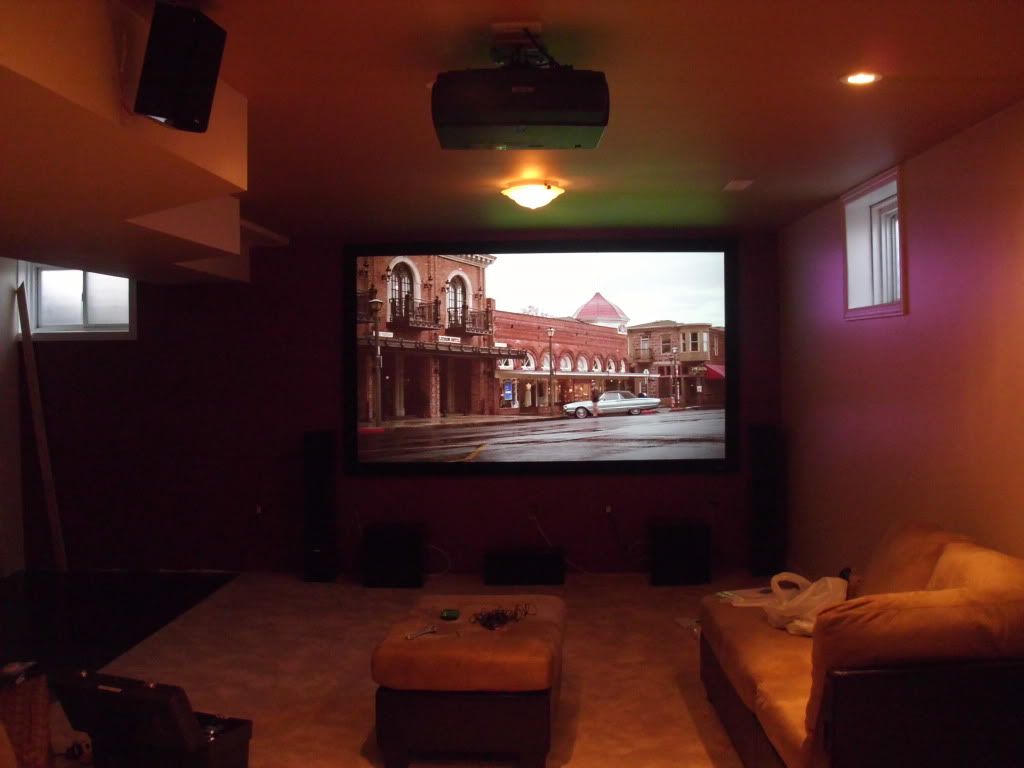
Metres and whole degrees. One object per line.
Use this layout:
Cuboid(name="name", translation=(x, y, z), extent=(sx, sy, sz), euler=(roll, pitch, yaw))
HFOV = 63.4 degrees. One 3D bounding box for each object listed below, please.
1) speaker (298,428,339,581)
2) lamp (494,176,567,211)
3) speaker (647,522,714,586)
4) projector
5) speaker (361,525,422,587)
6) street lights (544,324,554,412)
Cuboid(name="speaker", translation=(-1.664, 1.036, 7.009), extent=(0.443, 1.408, 0.451), euler=(-1, 21, -16))
Cuboid(name="lamp", translation=(0.155, -1.348, 5.911), extent=(0.472, 0.175, 0.602), euler=(0, 7, 3))
Cuboid(name="speaker", translation=(1.374, 1.359, 6.715), extent=(0.492, 0.475, 0.468), euler=(0, -1, 5))
Cuboid(name="projector", translation=(0.050, -1.328, 4.199), extent=(0.705, 0.408, 0.235), euler=(-1, -27, -1))
Cuboid(name="speaker", translation=(-0.961, 1.400, 6.838), extent=(0.484, 0.472, 0.123), euler=(3, -6, 4))
Cuboid(name="street lights", translation=(0.347, -0.159, 7.241), extent=(0.059, 0.673, 0.107), euler=(-1, 7, 3))
